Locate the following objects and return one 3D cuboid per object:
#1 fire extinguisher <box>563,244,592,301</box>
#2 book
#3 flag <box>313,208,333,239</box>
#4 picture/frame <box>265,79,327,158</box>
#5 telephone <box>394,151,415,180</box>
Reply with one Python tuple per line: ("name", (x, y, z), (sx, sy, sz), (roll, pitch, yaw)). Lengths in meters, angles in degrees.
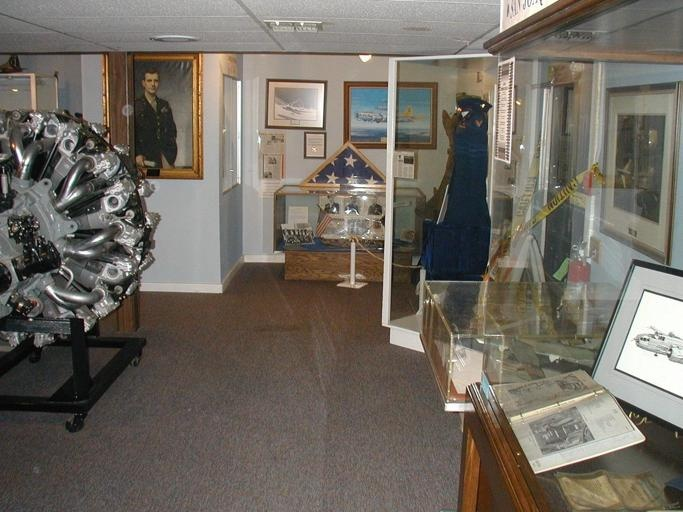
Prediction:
("fire extinguisher", (0.620, 0.041, 1.304), (0.049, 0.163, 0.086), (2, 1, -22))
("book", (0.482, 0.324, 1.126), (0.270, 0.368, 0.066), (-31, 34, 31))
("flag", (-0.238, -0.466, 6.962), (0.220, 0.601, 0.045), (18, 20, 11))
("picture/frame", (-0.658, -2.041, 7.348), (1.009, 0.909, 0.042), (2, 7, -5))
("telephone", (0.552, -0.789, 4.390), (0.227, 0.231, 0.108), (7, 9, 43))
